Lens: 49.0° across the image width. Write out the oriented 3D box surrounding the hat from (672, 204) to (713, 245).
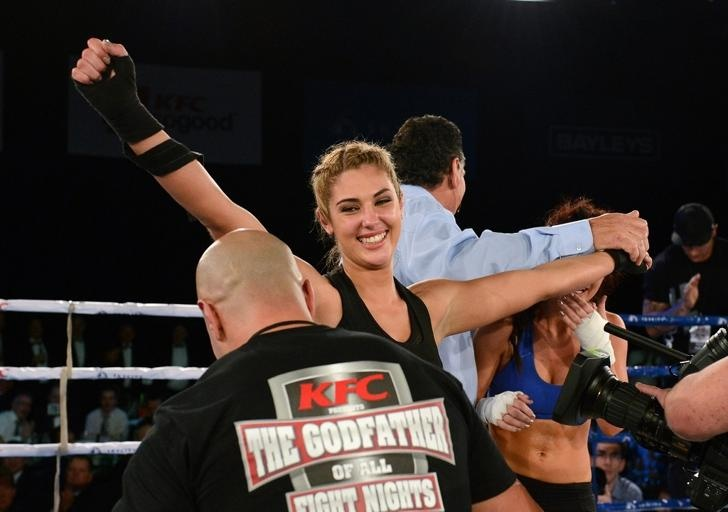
[{"bbox_3d":[3.579,-0.335,8.709,0.355,0.263,0.496,2,43,35],"label":"hat"}]
